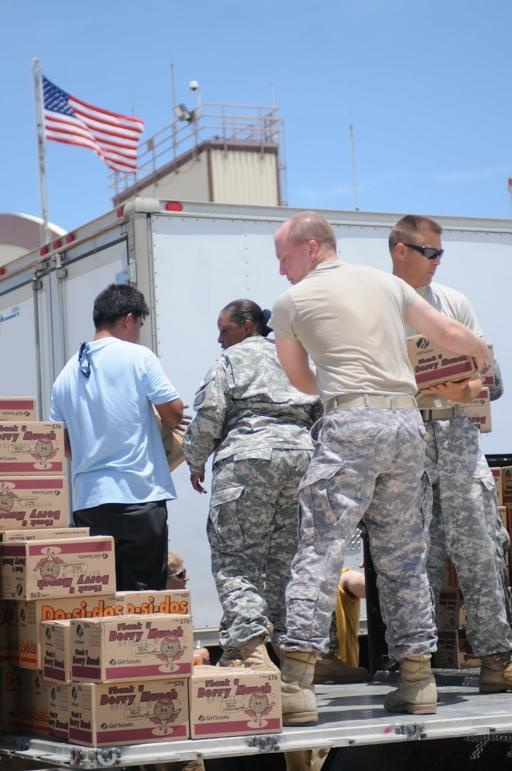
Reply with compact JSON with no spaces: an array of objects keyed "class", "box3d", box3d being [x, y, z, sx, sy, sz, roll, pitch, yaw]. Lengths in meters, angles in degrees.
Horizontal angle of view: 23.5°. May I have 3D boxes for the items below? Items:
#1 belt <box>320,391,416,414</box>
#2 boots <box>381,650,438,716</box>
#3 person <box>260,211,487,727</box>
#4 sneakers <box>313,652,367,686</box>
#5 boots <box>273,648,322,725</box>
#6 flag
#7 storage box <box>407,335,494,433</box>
[{"class":"belt","box3d":[0.385,0.055,4.091,0.307,0.060,0.146,-4,-4,2]},{"class":"boots","box3d":[0.513,1.000,4.146,0.101,0.212,0.233,9,-15,-34]},{"class":"person","box3d":[0.386,0.237,4.139,0.707,1.743,0.412,-5,-4,1]},{"class":"sneakers","box3d":[0.405,1.228,5.355,0.291,0.110,0.094,-1,0,-24]},{"class":"boots","box3d":[0.114,0.974,4.030,0.118,0.248,0.268,7,-16,-26]},{"class":"flag","box3d":[-1.781,-2.944,13.586,1.104,0.988,0.603,-3,-4,-16]},{"class":"storage box","box3d":[0.739,-0.018,4.711,0.215,0.270,0.404,-14,-16,32]}]
